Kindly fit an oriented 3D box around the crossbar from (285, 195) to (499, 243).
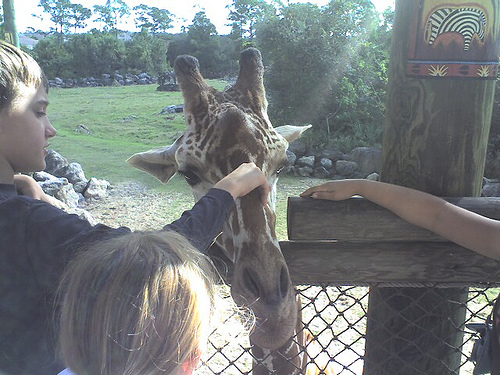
[{"bbox_3d":[0.569,0.173,2.351,0.772,0.239,0.140,2,15,0],"label":"crossbar"}]
